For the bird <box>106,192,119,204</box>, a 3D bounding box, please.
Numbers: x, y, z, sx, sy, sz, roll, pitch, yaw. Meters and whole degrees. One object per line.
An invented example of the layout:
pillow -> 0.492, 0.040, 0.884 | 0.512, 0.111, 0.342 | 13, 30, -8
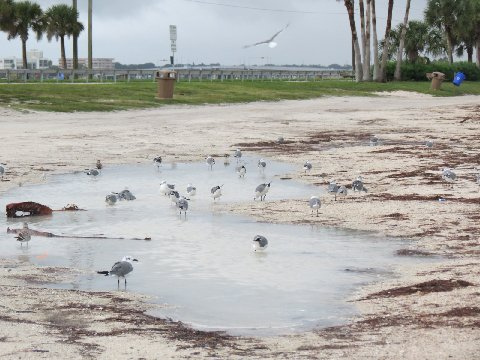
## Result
bird -> -3.369, 0.496, 28.871 | 0.257, 0.278, 0.255 | -1, 13, -6

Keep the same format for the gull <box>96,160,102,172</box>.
gull -> -4.212, -0.439, 32.879 | 0.153, 0.302, 0.551 | 0, -3, -6

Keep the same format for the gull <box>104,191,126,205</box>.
gull -> -3.407, 0.495, 29.120 | 0.247, 0.382, 0.695 | -10, 4, -38

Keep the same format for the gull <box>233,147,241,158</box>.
gull -> -0.099, -0.822, 35.173 | 0.119, 0.226, 0.354 | 9, -27, 11

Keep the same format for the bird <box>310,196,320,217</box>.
bird -> 1.914, 0.649, 27.960 | 0.238, 0.501, 0.485 | 1, 13, 3

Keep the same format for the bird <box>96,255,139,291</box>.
bird -> -2.582, 1.985, 23.631 | 0.912, 0.668, 0.376 | -7, 2, -35

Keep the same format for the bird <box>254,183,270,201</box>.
bird -> 0.586, 0.278, 29.531 | 0.390, 0.534, 0.785 | 0, 13, -1

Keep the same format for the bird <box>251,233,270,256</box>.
bird -> 0.476, 1.474, 25.519 | 0.296, 0.376, 0.557 | -5, 4, 6

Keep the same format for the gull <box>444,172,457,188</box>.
gull -> 5.905, -0.089, 30.989 | 0.229, 0.280, 0.132 | 7, -4, -24

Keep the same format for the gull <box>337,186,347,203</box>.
gull -> 2.736, 0.315, 29.466 | 0.162, 0.315, 0.535 | 5, -18, 12

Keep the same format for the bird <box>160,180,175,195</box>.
bird -> -1.965, 0.233, 29.976 | 0.344, 0.302, 0.593 | 0, 13, -3

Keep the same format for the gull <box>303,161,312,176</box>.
gull -> 2.032, -0.331, 32.947 | 0.125, 0.380, 0.259 | 0, 35, 10

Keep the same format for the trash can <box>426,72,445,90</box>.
trash can -> 14.146, -7.142, 78.968 | 1.175, 1.198, 1.249 | 5, 7, 26

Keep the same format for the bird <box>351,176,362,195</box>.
bird -> 3.255, 0.184, 29.943 | 0.167, 0.369, 0.275 | 8, 4, -32

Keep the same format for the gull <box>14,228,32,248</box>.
gull -> -5.036, 1.292, 25.628 | 0.376, 0.428, 0.718 | -2, 13, -11

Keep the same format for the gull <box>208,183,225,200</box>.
gull -> -0.667, 0.304, 29.611 | 0.333, 0.436, 1.058 | -1, 13, -4
